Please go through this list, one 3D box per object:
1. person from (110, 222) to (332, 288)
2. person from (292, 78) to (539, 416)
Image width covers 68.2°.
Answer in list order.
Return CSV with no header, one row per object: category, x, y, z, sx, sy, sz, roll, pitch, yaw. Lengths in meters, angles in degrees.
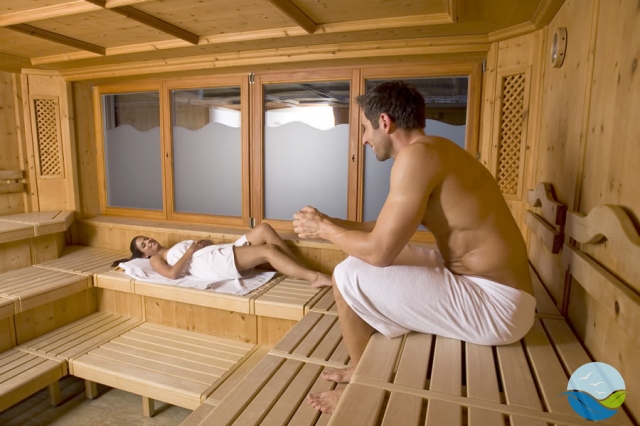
person,-0.843,0.373,4.401,2.257,0.500,0.709,0,10,6
person,0.382,0.123,2.829,1.603,1.670,1.109,5,10,5
